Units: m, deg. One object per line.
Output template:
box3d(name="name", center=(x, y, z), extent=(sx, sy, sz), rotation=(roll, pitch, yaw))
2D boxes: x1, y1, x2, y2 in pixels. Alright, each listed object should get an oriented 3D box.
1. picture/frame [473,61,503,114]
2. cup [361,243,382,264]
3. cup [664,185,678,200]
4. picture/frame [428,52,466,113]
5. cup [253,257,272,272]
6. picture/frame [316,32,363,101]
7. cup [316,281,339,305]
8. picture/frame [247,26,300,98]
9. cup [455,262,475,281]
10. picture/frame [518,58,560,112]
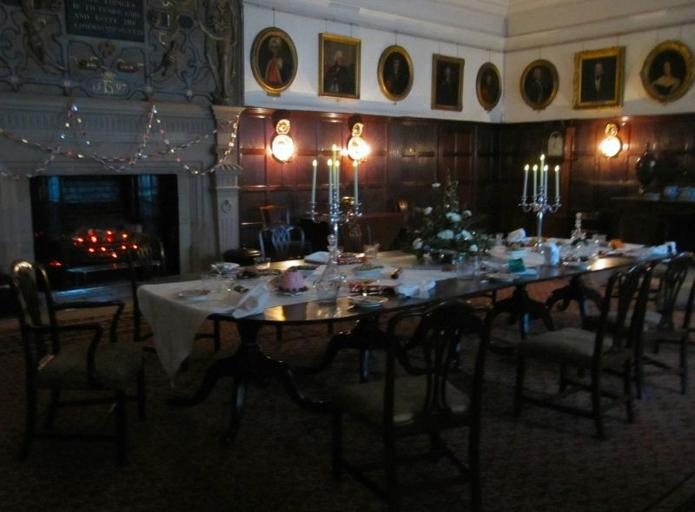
box3d(name="picture/frame", center=(2.696, -3.322, 10.799), extent=(0.078, 1.088, 1.098), rotation=(7, 3, 44))
box3d(name="cup", center=(0.228, -0.026, 4.907), extent=(0.169, 0.173, 0.159), rotation=(2, 8, 0))
box3d(name="cup", center=(5.111, -1.011, 8.846), extent=(0.224, 0.214, 0.220), rotation=(1, 1, 0))
box3d(name="picture/frame", center=(1.785, -3.221, 10.197), extent=(1.102, 1.098, 0.155), rotation=(-8, 12, -39))
box3d(name="cup", center=(-0.669, 0.060, 4.397), extent=(0.143, 0.105, 0.128), rotation=(-2, 5, -15))
box3d(name="picture/frame", center=(-0.160, -3.088, 8.922), extent=(1.122, 1.228, 0.167), rotation=(-5, 17, -35))
box3d(name="cup", center=(-0.128, 0.236, 3.698), extent=(0.143, 0.118, 0.135), rotation=(3, 9, 0))
box3d(name="picture/frame", center=(-1.095, -2.931, 8.302), extent=(0.717, 0.871, 0.114), rotation=(-12, 12, -38))
box3d(name="cup", center=(0.918, 0.122, 4.300), extent=(0.130, 0.126, 0.128), rotation=(2, 2, 0))
box3d(name="picture/frame", center=(3.640, -3.262, 10.506), extent=(0.084, 1.234, 1.021), rotation=(-19, 19, -41))
